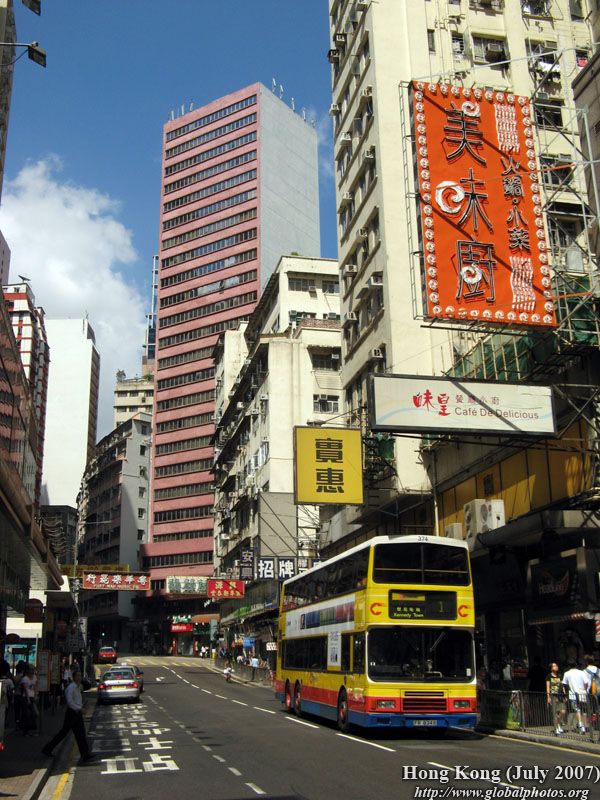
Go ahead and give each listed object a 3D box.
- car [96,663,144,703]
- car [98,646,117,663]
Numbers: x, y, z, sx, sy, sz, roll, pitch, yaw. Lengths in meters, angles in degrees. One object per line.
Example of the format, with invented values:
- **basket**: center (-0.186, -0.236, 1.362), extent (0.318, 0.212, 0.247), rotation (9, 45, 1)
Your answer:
- **car**: center (-7.148, 11.357, 34.704), extent (1.078, 0.845, 2.549), rotation (0, -3, -5)
- **car**: center (-20.455, 27.091, 92.336), extent (1.551, 1.500, 2.407), rotation (5, -16, -21)
